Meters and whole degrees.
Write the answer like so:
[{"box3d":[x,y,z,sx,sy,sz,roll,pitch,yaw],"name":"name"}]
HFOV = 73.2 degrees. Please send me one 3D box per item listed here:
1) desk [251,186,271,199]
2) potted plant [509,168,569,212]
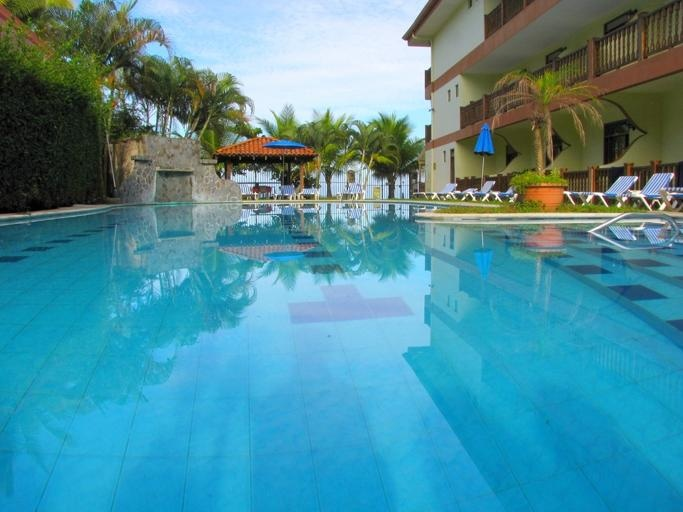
[{"box3d":[-5.141,-4.168,29.852,1.035,0.878,1.062,-3,13,-17],"name":"desk"},{"box3d":[5.856,-1.934,13.474,1.391,1.154,0.890,-1,8,-8],"name":"potted plant"}]
